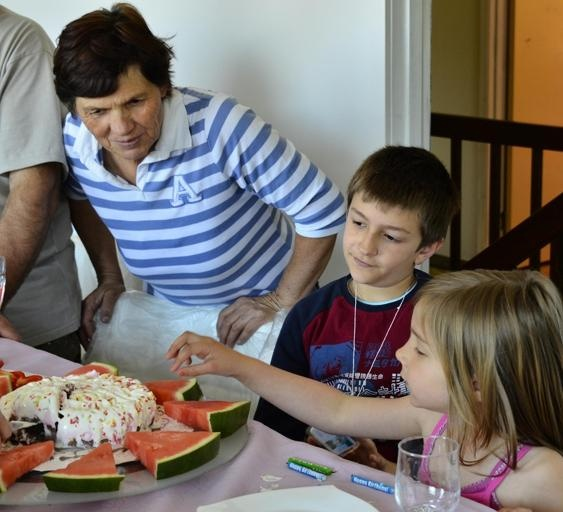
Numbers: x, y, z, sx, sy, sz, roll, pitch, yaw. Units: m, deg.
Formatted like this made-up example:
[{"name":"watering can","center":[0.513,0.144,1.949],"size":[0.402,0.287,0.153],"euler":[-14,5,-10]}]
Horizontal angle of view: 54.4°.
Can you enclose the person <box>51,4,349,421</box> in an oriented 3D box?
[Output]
[{"name":"person","center":[-0.282,0.074,2.013],"size":[0.880,1.667,0.715],"euler":[-1,12,-3]}]

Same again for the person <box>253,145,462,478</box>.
[{"name":"person","center":[0.135,0.094,1.470],"size":[0.380,0.965,0.476],"euler":[13,13,30]}]
